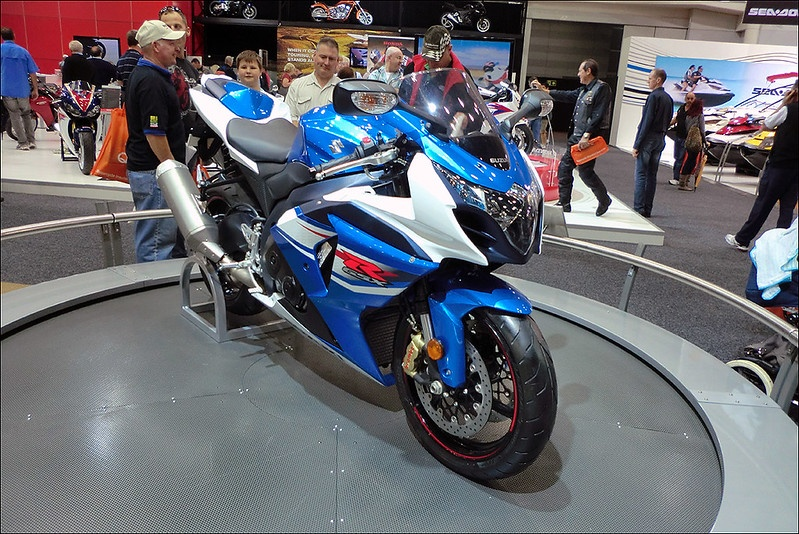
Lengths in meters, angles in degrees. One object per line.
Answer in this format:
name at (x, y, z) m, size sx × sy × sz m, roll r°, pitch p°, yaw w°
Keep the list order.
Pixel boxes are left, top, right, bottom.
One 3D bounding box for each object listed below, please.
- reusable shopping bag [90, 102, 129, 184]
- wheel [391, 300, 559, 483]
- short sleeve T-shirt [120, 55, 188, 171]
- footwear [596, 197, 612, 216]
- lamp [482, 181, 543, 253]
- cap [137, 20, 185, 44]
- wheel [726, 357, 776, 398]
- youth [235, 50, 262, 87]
reusable shopping bag at (-2.673, -1.088, 4.457) m, size 0.249 × 0.623 × 0.622 m, roll 13°, pitch -6°, yaw -34°
wheel at (0.338, 0.564, 2.274) m, size 0.773 × 0.790 × 0.400 m, roll 11°, pitch 26°, yaw 21°
short sleeve T-shirt at (-1.873, -1.165, 3.676) m, size 0.479 × 0.921 × 0.836 m, roll -8°, pitch 35°, yaw -26°
footwear at (2.834, -0.838, 6.716) m, size 0.127 × 0.162 × 0.380 m, roll -33°, pitch 15°, yaw 50°
lamp at (0.482, -0.213, 2.192) m, size 0.232 × 0.332 × 0.077 m, roll -22°, pitch -4°, yaw -30°
cap at (-1.743, -1.687, 3.502) m, size 0.280 × 0.139 × 0.180 m, roll -14°, pitch 42°, yaw -19°
wheel at (2.241, 0.685, 3.058) m, size 0.213 × 0.222 × 0.221 m, roll 3°, pitch 0°, yaw 0°
youth at (-1.700, -2.243, 5.462) m, size 0.258 × 0.456 × 0.295 m, roll 0°, pitch 23°, yaw -10°
